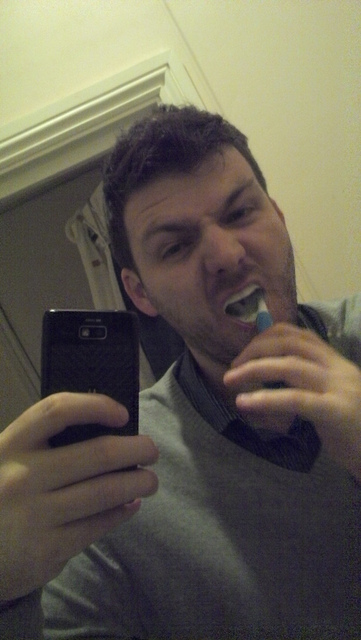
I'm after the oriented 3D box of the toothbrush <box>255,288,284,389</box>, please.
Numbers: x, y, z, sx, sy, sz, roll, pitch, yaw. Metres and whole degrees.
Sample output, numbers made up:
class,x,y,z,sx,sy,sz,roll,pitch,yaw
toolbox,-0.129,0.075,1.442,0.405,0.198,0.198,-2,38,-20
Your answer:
class,x,y,z,sx,sy,sz,roll,pitch,yaw
toothbrush,0.102,0.019,0.680,0.038,0.012,0.156,16,49,-17

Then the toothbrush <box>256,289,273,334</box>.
class,x,y,z,sx,sy,sz,roll,pitch,yaw
toothbrush,0.101,-0.012,0.685,0.019,0.047,0.022,-7,33,7
